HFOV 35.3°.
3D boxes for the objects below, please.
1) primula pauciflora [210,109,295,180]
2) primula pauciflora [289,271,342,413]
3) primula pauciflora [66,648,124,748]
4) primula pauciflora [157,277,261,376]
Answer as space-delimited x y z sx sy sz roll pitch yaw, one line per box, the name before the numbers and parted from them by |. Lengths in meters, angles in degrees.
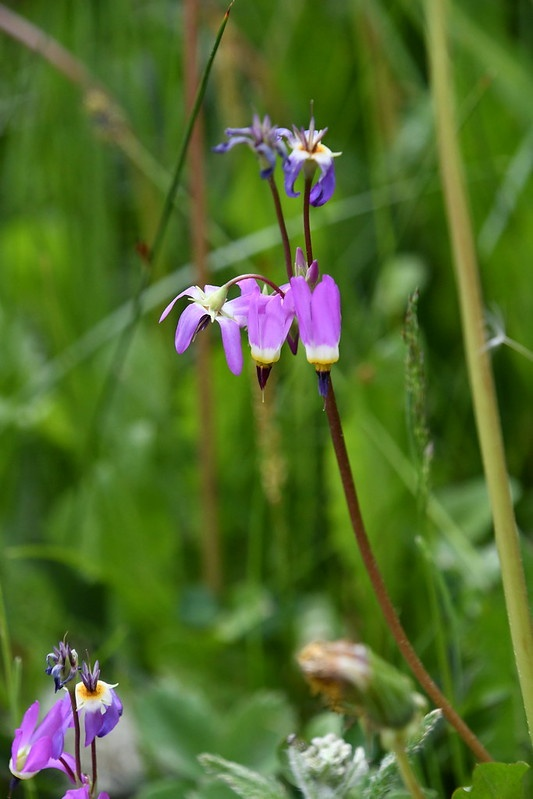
primula pauciflora | -0.001 -0.155 0.515 0.043 0.042 0.048 25 23 27
primula pauciflora | 0.032 -0.038 0.499 0.028 0.071 0.042 -8 1 10
primula pauciflora | -0.116 0.199 0.564 0.046 0.059 0.038 -11 0 39
primula pauciflora | -0.032 -0.048 0.561 0.050 0.064 0.110 -12 1 -1
